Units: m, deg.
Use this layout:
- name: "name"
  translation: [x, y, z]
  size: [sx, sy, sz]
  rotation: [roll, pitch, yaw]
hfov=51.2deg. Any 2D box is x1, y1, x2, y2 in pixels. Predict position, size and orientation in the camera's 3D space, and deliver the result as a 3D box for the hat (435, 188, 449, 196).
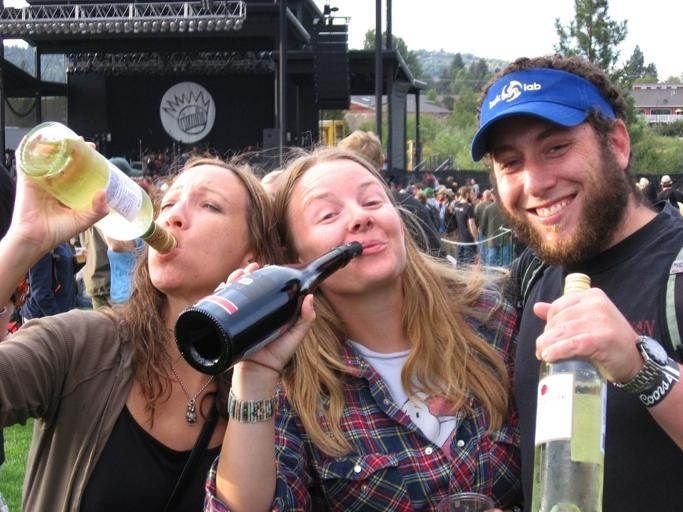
- name: "hat"
  translation: [2.585, -1.701, 18.166]
  size: [0.259, 0.279, 0.073]
  rotation: [-22, 60, -40]
